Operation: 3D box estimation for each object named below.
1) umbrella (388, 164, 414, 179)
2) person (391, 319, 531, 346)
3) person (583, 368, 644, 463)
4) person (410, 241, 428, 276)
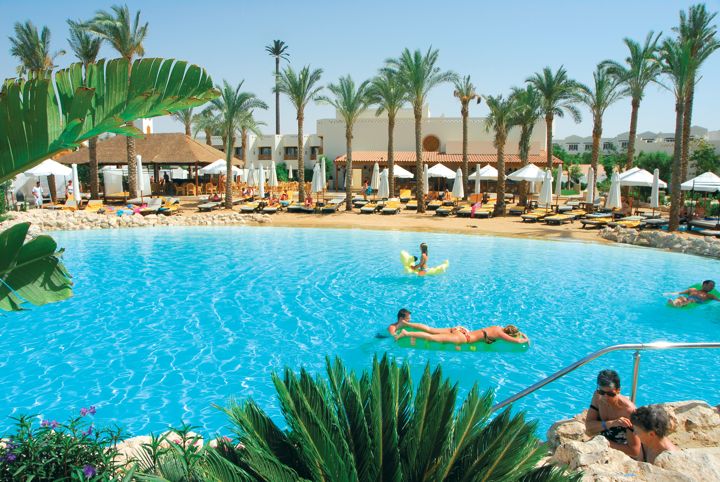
[{"bbox_3d":[2.931,-4.880,35.895,1.847,0.768,1.753,0,6,-4],"label":"umbrella"},{"bbox_3d":[2.011,1.772,10.205,2.662,0.430,0.879,0,-6,1],"label":"person"},{"bbox_3d":[3.238,2.144,6.461,0.653,0.943,0.614,4,10,30],"label":"person"},{"bbox_3d":[1.750,0.472,14.957,0.456,0.902,1.019,-1,9,4],"label":"person"}]
